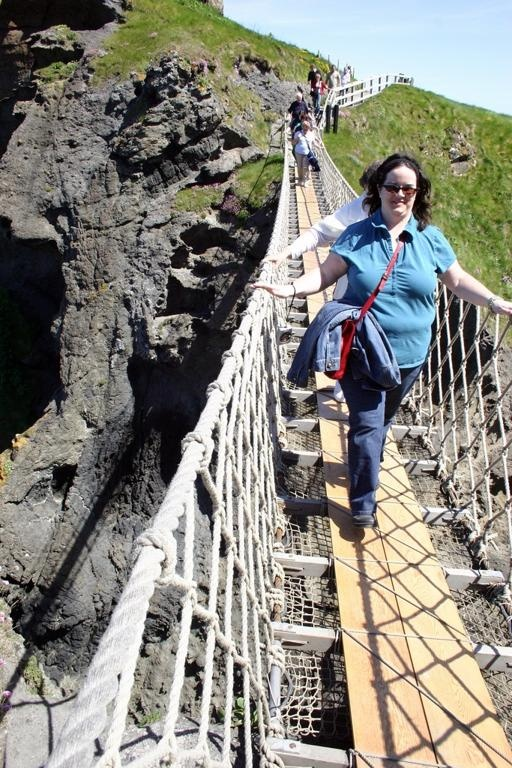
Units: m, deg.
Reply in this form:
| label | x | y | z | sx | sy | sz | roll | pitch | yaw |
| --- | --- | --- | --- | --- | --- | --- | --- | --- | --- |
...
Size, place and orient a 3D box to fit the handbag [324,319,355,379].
| label | x | y | z | sx | sy | sz | roll | pitch | yaw |
| --- | --- | --- | --- | --- | --- | --- | --- | --- | --- |
| handbag | 0.273 | -0.106 | 1.893 | 0.039 | 0.160 | 0.114 | 12 | 0 | 4 |

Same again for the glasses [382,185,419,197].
| label | x | y | z | sx | sy | sz | roll | pitch | yaw |
| --- | --- | --- | --- | --- | --- | --- | --- | --- | --- |
| glasses | 0.431 | -0.590 | 1.873 | 0.094 | 0.034 | 0.026 | 10 | 29 | 6 |

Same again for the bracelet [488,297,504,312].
| label | x | y | z | sx | sy | sz | roll | pitch | yaw |
| --- | --- | --- | --- | --- | --- | --- | --- | --- | --- |
| bracelet | 0.762 | -0.257 | 1.977 | 0.037 | 0.020 | 0.050 | 0 | 22 | 4 |

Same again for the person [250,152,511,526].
| label | x | y | z | sx | sy | sz | roll | pitch | yaw |
| --- | --- | --- | --- | --- | --- | --- | --- | --- | --- |
| person | 0.427 | -0.127 | 2.041 | 0.596 | 1.152 | 0.515 | 27 | 35 | 34 |
